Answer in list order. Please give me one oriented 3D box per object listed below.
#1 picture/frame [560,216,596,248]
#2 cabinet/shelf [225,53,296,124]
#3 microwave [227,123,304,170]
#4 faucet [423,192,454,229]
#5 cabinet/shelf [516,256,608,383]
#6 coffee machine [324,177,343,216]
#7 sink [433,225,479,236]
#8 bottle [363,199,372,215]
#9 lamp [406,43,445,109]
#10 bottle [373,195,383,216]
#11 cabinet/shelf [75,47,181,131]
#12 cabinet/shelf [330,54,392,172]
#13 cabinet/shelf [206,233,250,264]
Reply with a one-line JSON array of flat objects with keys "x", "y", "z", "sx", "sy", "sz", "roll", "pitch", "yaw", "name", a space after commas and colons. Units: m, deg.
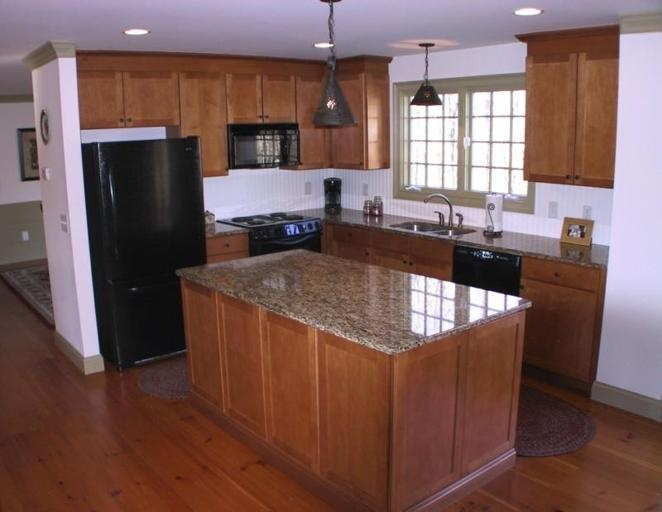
[{"x": 2.183, "y": -0.206, "z": 4.704, "sx": 0.018, "sy": 0.255, "sz": 0.250, "roll": 13, "pitch": -1, "yaw": -42, "name": "picture/frame"}, {"x": -0.781, "y": -1.808, "z": 5.739, "sx": 0.665, "sy": 0.581, "sz": 0.253, "roll": -7, "pitch": 13, "yaw": -33, "name": "cabinet/shelf"}, {"x": -0.769, "y": -1.225, "z": 5.989, "sx": 0.839, "sy": 0.478, "sz": 0.298, "roll": -10, "pitch": 22, "yaw": -31, "name": "microwave"}, {"x": 1.161, "y": -0.499, "z": 5.631, "sx": 0.280, "sy": 0.374, "sz": 0.655, "roll": 2, "pitch": 15, "yaw": 12, "name": "faucet"}, {"x": 1.855, "y": 0.600, "z": 4.671, "sx": 0.617, "sy": 0.953, "sz": 0.674, "roll": 13, "pitch": -19, "yaw": -1, "name": "cabinet/shelf"}, {"x": 0.030, "y": -0.795, "z": 6.876, "sx": 0.243, "sy": 0.382, "sz": 0.277, "roll": -1, "pitch": 14, "yaw": 0, "name": "coffee machine"}, {"x": 1.284, "y": -0.252, "z": 5.528, "sx": 0.240, "sy": 0.088, "sz": 0.188, "roll": 14, "pitch": 22, "yaw": 38, "name": "sink"}, {"x": 0.448, "y": -0.583, "z": 6.450, "sx": 0.148, "sy": 0.174, "sz": 0.153, "roll": 1, "pitch": 4, "yaw": 1, "name": "bottle"}, {"x": 0.958, "y": -1.774, "z": 5.310, "sx": 0.257, "sy": 0.555, "sz": 0.913, "roll": 2, "pitch": 15, "yaw": 11, "name": "lamp"}, {"x": 0.568, "y": -0.594, "z": 6.360, "sx": 0.125, "sy": 0.207, "sz": 0.306, "roll": 0, "pitch": 14, "yaw": 4, "name": "bottle"}, {"x": -1.901, "y": -1.535, "z": 5.172, "sx": 0.969, "sy": 0.710, "sz": 0.347, "roll": 0, "pitch": 4, "yaw": 0, "name": "cabinet/shelf"}, {"x": 0.321, "y": -1.574, "z": 6.273, "sx": 0.378, "sy": 1.078, "sz": 0.604, "roll": -10, "pitch": 14, "yaw": -39, "name": "cabinet/shelf"}, {"x": -1.066, "y": -0.093, "z": 5.567, "sx": 0.415, "sy": 0.392, "sz": 0.286, "roll": -13, "pitch": 20, "yaw": -42, "name": "cabinet/shelf"}]
